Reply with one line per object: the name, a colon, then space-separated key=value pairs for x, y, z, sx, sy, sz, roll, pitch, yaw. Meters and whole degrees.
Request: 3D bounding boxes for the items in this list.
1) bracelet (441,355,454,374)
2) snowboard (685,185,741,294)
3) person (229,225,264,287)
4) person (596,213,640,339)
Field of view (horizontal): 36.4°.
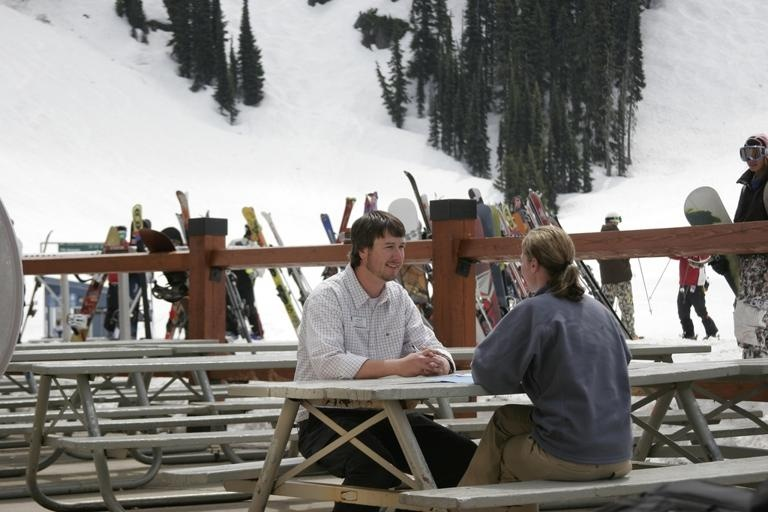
bracelet: x=1.135 y=1.913 z=20.485 sx=0.255 sy=0.250 sz=0.257 roll=-1 pitch=0 yaw=-16
snowboard: x=6.607 y=-0.464 z=23.565 sx=0.644 sy=2.787 sz=0.371 roll=-25 pitch=-25 yaw=24
person: x=-3.480 y=0.048 z=29.750 sx=1.225 sy=1.624 sz=0.632 roll=6 pitch=0 yaw=-6
person: x=5.796 y=0.381 z=29.673 sx=1.041 sy=3.298 sz=1.026 roll=-13 pitch=32 yaw=0
